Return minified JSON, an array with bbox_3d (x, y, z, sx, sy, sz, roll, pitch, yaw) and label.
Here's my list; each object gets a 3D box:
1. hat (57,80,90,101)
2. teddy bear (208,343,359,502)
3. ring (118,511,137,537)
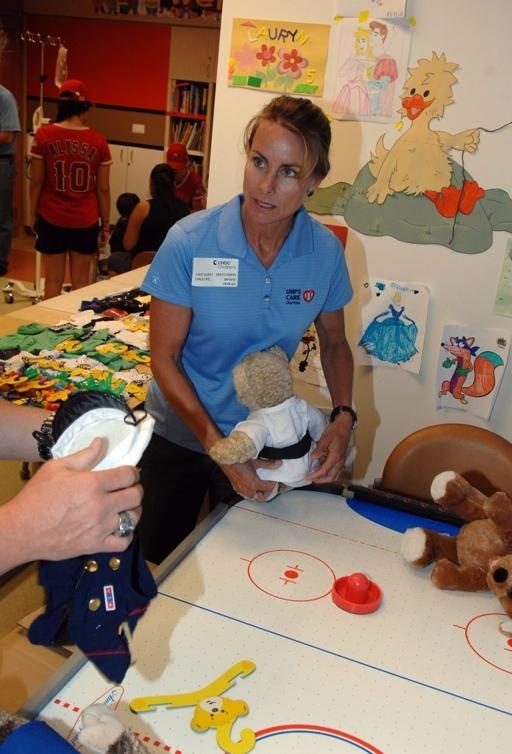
[{"bbox_3d":[-1.280,-2.020,3.922,0.194,0.155,0.204,2,16,-20],"label":"hat"},{"bbox_3d":[0.035,0.128,1.362,0.337,0.370,0.192,-21,23,-40],"label":"teddy bear"},{"bbox_3d":[-0.151,0.174,0.657,0.012,0.029,0.022,4,15,-6],"label":"ring"}]
